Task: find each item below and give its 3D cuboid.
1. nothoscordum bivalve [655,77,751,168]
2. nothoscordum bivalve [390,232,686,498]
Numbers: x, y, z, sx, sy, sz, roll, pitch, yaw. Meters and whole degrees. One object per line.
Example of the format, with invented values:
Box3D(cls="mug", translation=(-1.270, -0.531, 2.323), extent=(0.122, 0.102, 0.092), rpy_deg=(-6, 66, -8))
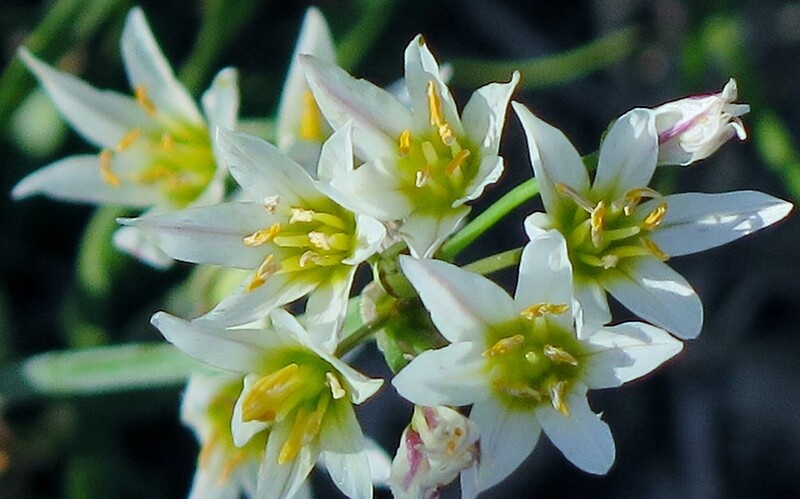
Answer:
Box3D(cls="nothoscordum bivalve", translation=(0.459, -0.193, 1.546), extent=(0.156, 0.105, 0.067), rpy_deg=(-18, 22, 11))
Box3D(cls="nothoscordum bivalve", translation=(0.160, 0.196, 1.468), extent=(0.414, 0.344, 0.159), rpy_deg=(23, -12, 14))
